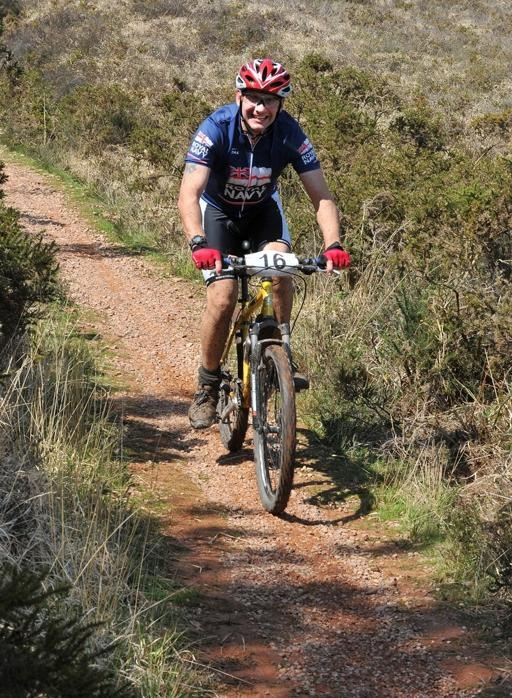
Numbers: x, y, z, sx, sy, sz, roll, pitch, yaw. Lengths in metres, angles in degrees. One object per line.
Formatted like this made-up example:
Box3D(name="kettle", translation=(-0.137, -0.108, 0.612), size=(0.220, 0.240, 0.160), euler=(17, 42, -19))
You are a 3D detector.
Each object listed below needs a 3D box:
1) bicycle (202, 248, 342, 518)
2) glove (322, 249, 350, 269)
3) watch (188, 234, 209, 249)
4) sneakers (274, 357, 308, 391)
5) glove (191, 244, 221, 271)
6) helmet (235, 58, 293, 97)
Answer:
Box3D(name="bicycle", translation=(0.008, 0.123, 4.643), size=(0.544, 1.386, 1.275), euler=(8, 14, -2))
Box3D(name="glove", translation=(0.421, -0.476, 4.439), size=(0.137, 0.100, 0.182), euler=(8, 14, 2))
Box3D(name="watch", translation=(-0.303, -0.546, 4.360), size=(0.101, 0.066, 0.090), euler=(-23, -16, -19))
Box3D(name="sneakers", translation=(0.217, 0.145, 4.295), size=(0.108, 0.169, 0.289), euler=(10, 14, 8))
Box3D(name="glove", translation=(-0.252, -0.452, 4.284), size=(0.152, 0.135, 0.219), euler=(7, 14, -4))
Box3D(name="helmet", translation=(0.024, -1.450, 4.435), size=(0.321, 0.193, 0.222), euler=(16, 16, 30))
